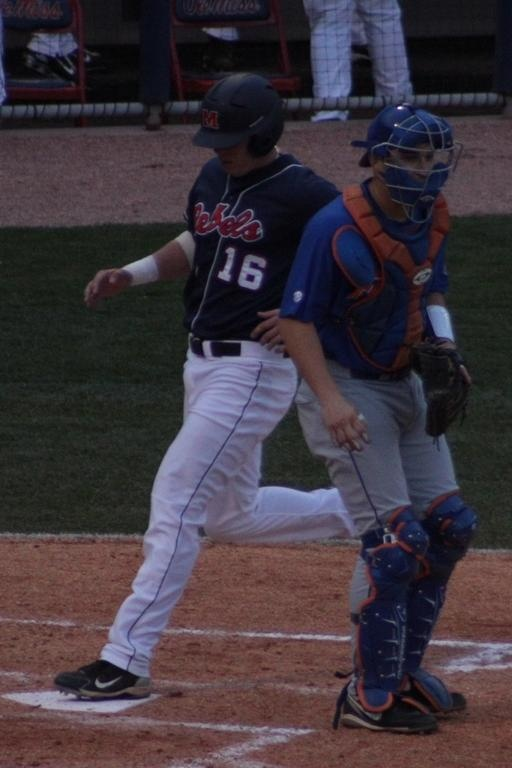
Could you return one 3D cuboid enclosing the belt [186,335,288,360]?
[{"bbox_3d":[-0.084,-0.112,3.987,0.336,0.066,0.081,7,9,34],"label":"belt"}]

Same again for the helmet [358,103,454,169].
[{"bbox_3d":[0.414,-0.694,3.541,0.224,0.156,0.173,-15,-2,44],"label":"helmet"}]

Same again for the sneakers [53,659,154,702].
[{"bbox_3d":[-0.453,0.882,3.762,0.323,0.118,0.107,7,-8,-14],"label":"sneakers"}]

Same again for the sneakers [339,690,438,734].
[{"bbox_3d":[0.370,0.929,3.587,0.314,0.114,0.101,1,-4,9],"label":"sneakers"}]

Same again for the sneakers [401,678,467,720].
[{"bbox_3d":[0.528,0.909,3.661,0.233,0.086,0.088,11,-17,-32],"label":"sneakers"}]

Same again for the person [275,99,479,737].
[{"bbox_3d":[0.364,0.088,3.588,0.630,1.754,0.522,2,10,-6],"label":"person"}]

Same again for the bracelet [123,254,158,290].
[{"bbox_3d":[-0.431,-0.380,4.355,0.148,0.076,0.062,-15,-20,33],"label":"bracelet"}]

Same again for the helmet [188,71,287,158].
[{"bbox_3d":[-0.055,-0.852,3.982,0.277,0.262,0.217,2,9,-3],"label":"helmet"}]
